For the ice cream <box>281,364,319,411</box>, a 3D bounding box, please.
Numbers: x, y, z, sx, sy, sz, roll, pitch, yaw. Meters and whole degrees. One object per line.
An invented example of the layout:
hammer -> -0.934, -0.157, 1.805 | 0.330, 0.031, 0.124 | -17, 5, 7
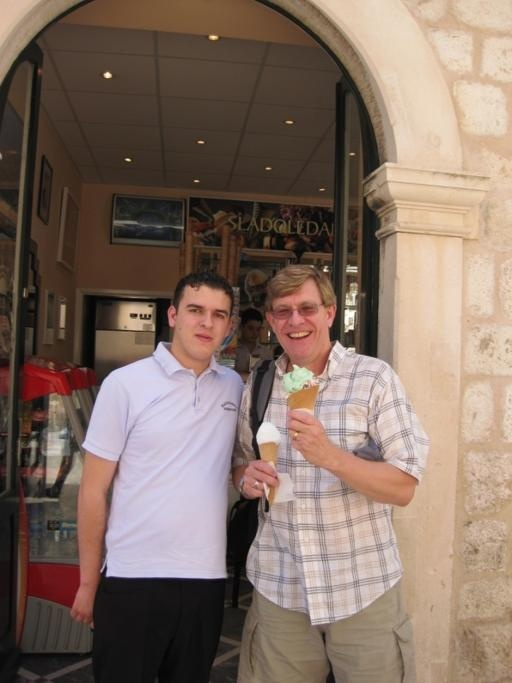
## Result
ice cream -> 0.126, 0.138, 1.883 | 0.094, 0.155, 0.210 | 1, -10, -7

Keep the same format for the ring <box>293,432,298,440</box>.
ring -> 0.108, 0.263, 1.723 | 0.018, 0.016, 0.015 | -1, -1, 27
